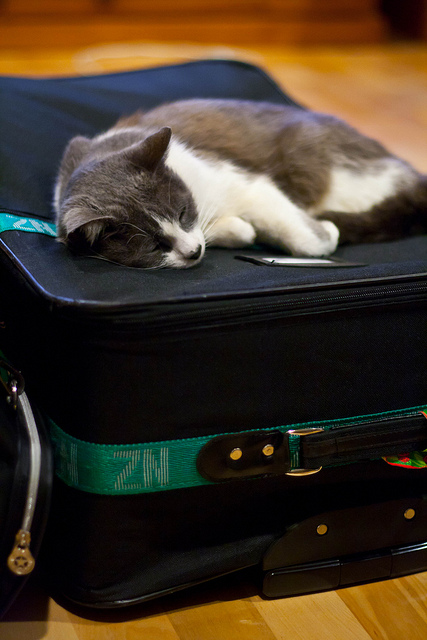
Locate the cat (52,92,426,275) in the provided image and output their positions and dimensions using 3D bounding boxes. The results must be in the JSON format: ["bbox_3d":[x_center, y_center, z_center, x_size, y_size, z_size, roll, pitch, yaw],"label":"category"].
[{"bbox_3d":[0.023,-0.201,0.897,0.344,0.178,0.474,22,38,39],"label":"cat"}]
